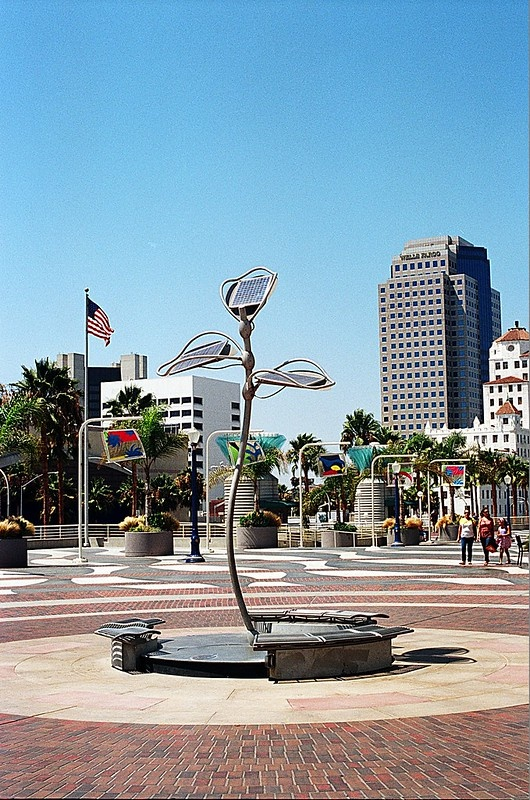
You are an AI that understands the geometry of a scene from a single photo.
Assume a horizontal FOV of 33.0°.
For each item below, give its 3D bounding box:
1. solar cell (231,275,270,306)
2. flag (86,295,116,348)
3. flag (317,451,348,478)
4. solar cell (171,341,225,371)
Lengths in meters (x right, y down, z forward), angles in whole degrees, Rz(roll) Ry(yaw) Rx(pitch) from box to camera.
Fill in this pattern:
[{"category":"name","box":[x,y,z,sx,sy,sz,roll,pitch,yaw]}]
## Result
[{"category":"solar cell","box":[-0.190,-1.332,11.240,0.420,0.451,0.099,-8,-40,28]},{"category":"flag","box":[-8.625,-3.831,46.186,1.222,2.343,2.748,1,-6,-10]},{"category":"flag","box":[3.401,3.577,46.479,1.351,1.098,0.990,-1,-6,4]},{"category":"solar cell","box":[-0.853,-0.542,11.744,0.355,0.367,1.085,5,-8,-37]}]
